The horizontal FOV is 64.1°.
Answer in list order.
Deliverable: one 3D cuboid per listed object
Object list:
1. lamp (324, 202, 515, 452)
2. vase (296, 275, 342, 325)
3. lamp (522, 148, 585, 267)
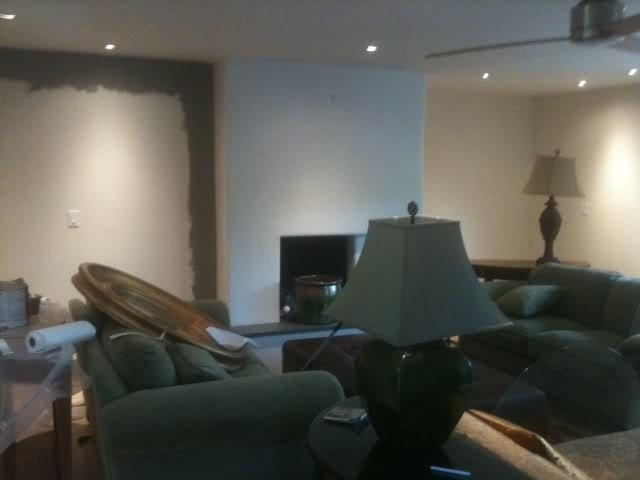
[{"bbox_3d":[0.178,0.178,0.995,0.289,0.432,0.285,-2,3,-34],"label":"lamp"},{"bbox_3d":[-0.021,0.273,2.254,0.200,0.193,0.200,-1,1,-21],"label":"vase"},{"bbox_3d":[0.813,-0.109,1.788,0.187,0.407,0.121,4,7,27],"label":"lamp"}]
